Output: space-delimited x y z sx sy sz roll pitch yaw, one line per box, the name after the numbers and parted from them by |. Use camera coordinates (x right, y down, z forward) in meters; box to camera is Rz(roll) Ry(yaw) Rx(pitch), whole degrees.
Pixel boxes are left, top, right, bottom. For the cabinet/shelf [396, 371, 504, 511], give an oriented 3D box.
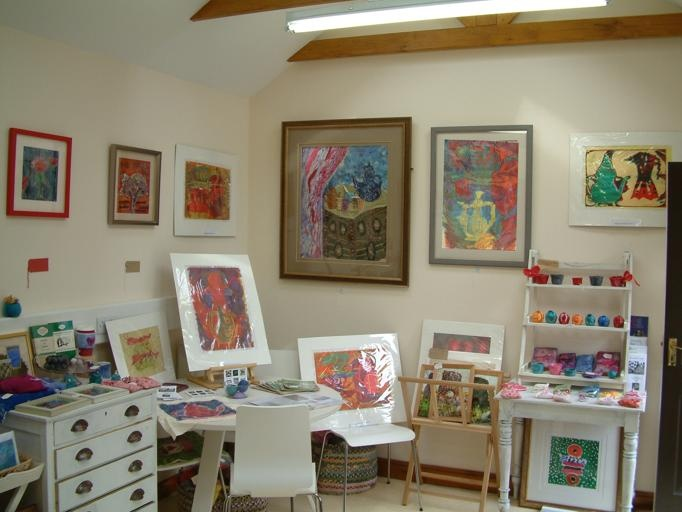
0.860 1.416 3.936 0.828 1.240 0.851 1 10 16 | cabinet/shelf

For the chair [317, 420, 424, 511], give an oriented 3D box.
0.216 1.345 3.916 0.752 0.665 0.590 -1 6 -20 | chair

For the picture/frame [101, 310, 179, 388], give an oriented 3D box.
-1.397 0.637 3.521 0.033 0.516 0.501 -15 -2 30 | picture/frame

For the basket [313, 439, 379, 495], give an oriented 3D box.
0.046 1.651 3.982 0.416 0.319 0.425 0 0 11 | basket

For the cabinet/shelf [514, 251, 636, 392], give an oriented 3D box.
1.775 0.493 3.815 0.846 1.338 0.673 3 5 16 | cabinet/shelf

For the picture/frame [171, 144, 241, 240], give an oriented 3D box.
-1.123 -0.533 4.196 0.044 0.831 0.832 3 1 30 | picture/frame

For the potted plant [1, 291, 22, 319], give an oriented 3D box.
-1.881 0.290 2.932 0.105 0.162 0.118 4 -4 -35 | potted plant
